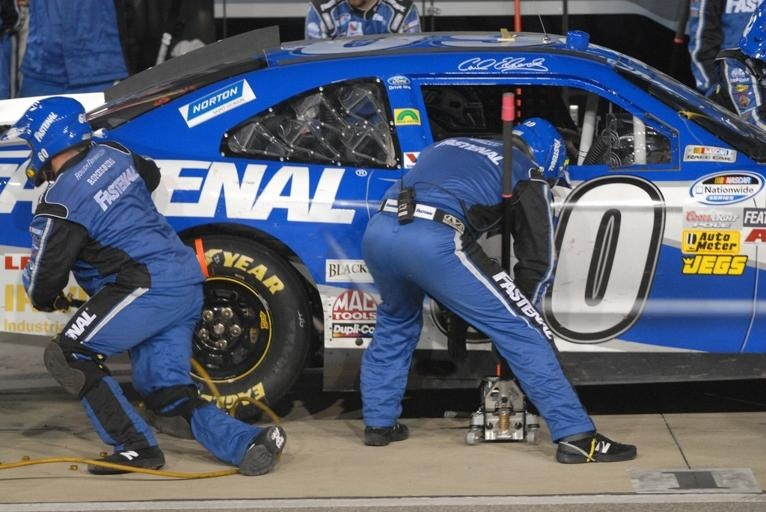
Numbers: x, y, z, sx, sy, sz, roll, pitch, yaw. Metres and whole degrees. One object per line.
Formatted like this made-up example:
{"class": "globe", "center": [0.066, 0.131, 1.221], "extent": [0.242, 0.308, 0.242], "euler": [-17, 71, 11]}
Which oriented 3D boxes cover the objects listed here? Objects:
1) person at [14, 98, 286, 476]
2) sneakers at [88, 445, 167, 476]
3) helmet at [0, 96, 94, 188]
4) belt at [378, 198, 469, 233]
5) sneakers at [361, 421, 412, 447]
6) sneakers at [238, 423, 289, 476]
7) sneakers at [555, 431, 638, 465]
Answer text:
{"class": "person", "center": [-1.504, 0.178, 5.490], "extent": [1.486, 2.215, 0.886], "euler": [10, 19, 37]}
{"class": "sneakers", "center": [-1.466, 1.196, 5.429], "extent": [0.509, 0.164, 0.163], "euler": [2, 3, -4]}
{"class": "helmet", "center": [-1.971, -0.708, 5.518], "extent": [0.656, 0.483, 0.428], "euler": [5, 12, 1]}
{"class": "belt", "center": [0.269, -0.247, 5.534], "extent": [0.373, 0.070, 0.239], "euler": [18, -5, -9]}
{"class": "sneakers", "center": [0.024, 1.130, 5.851], "extent": [0.345, 0.127, 0.115], "euler": [-8, 15, -40]}
{"class": "sneakers", "center": [-0.686, 1.142, 5.464], "extent": [0.384, 0.186, 0.169], "euler": [-39, 1, 3]}
{"class": "sneakers", "center": [1.247, 1.152, 5.572], "extent": [0.548, 0.166, 0.177], "euler": [-2, 8, -3]}
